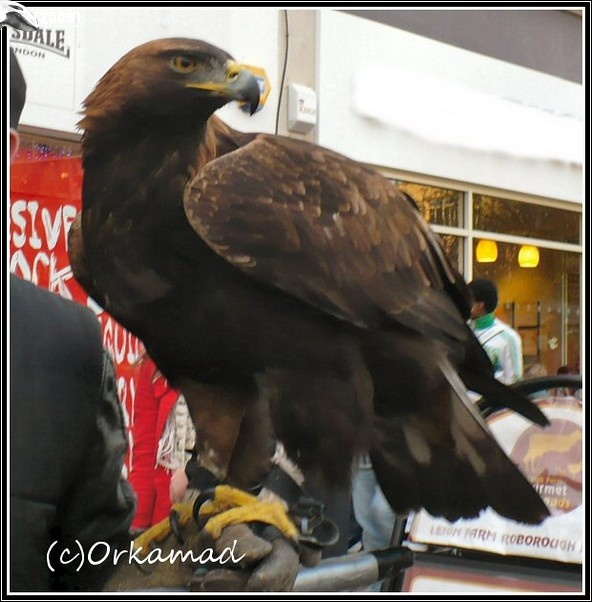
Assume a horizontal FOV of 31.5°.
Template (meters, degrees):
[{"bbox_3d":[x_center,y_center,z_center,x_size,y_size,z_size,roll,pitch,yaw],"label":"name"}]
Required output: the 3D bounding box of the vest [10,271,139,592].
[{"bbox_3d":[-0.594,0.329,2.621,0.424,0.691,0.234,-5,9,-42],"label":"vest"}]

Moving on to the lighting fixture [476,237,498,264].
[{"bbox_3d":[0.523,-0.140,2.922,0.058,0.067,0.064,-1,3,-9],"label":"lighting fixture"}]
